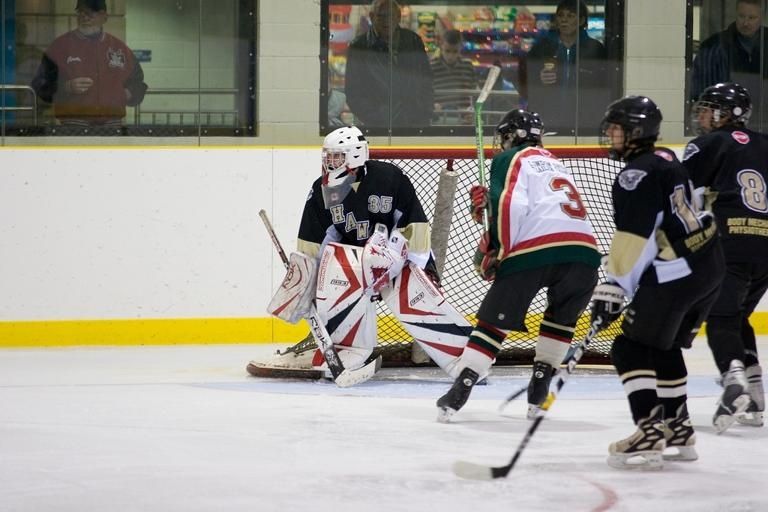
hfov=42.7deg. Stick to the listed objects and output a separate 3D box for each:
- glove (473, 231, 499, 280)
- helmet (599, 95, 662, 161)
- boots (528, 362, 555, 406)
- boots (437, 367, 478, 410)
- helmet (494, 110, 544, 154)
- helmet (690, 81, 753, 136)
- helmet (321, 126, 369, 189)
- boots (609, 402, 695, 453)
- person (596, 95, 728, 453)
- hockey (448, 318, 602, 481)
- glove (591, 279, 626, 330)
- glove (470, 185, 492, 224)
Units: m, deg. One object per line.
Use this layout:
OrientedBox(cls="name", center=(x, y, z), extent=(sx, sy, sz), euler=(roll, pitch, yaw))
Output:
OrientedBox(cls="glove", center=(0.585, 0.007, 5.687), extent=(0.088, 0.244, 0.145), euler=(6, -8, -3))
OrientedBox(cls="helmet", center=(1.303, -0.684, 5.281), extent=(0.355, 0.355, 0.286), euler=(3, 6, 11))
OrientedBox(cls="boots", center=(0.910, 0.765, 5.790), extent=(0.130, 0.319, 0.109), euler=(11, 25, 5))
OrientedBox(cls="boots", center=(0.426, 0.772, 5.650), extent=(0.162, 0.290, 0.119), euler=(40, -17, -4))
OrientedBox(cls="helmet", center=(0.794, -0.731, 5.786), extent=(0.228, 0.234, 0.262), euler=(-6, 19, -19))
OrientedBox(cls="helmet", center=(2.048, -0.896, 6.008), extent=(0.371, 0.333, 0.290), euler=(5, 0, 9))
OrientedBox(cls="helmet", center=(-0.258, -0.637, 6.236), extent=(0.388, 0.363, 0.293), euler=(-9, 7, -33))
OrientedBox(cls="boots", center=(1.385, 0.897, 5.019), extent=(0.444, 0.292, 0.181), euler=(-1, 8, -29))
OrientedBox(cls="person", center=(1.407, 0.115, 5.052), extent=(0.668, 1.844, 0.458), euler=(4, 7, 11))
OrientedBox(cls="hockey", center=(0.848, 0.808, 5.073), extent=(0.406, 0.297, 1.222), euler=(-11, 28, 46))
OrientedBox(cls="glove", center=(1.155, 0.252, 5.075), extent=(0.189, 0.235, 0.243), euler=(-1, 7, 14))
OrientedBox(cls="glove", center=(0.560, -0.302, 5.778), extent=(0.097, 0.197, 0.152), euler=(0, -9, -7))
